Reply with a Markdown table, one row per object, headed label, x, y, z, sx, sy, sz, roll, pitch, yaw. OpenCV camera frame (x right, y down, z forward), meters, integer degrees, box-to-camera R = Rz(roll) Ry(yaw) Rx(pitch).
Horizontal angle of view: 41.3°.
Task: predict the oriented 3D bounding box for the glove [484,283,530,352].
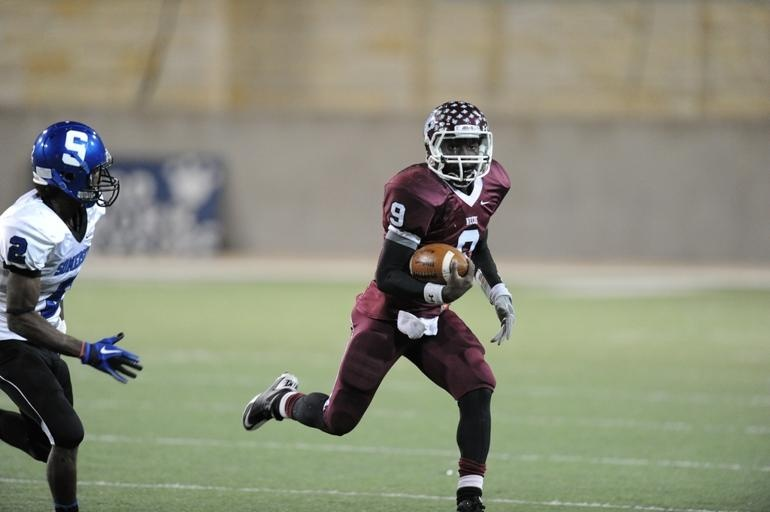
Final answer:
| label | x | y | z | sx | sy | sz | roll | pitch | yaw |
| --- | --- | --- | --- | --- | --- | --- | --- | --- | --- |
| glove | 0.733 | 0.379 | 6.499 | 0.266 | 0.447 | 0.133 | 7 | -37 | -26 |

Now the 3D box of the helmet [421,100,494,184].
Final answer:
| label | x | y | z | sx | sy | sz | roll | pitch | yaw |
| --- | --- | --- | --- | --- | --- | --- | --- | --- | --- |
| helmet | 0.449 | -0.697 | 6.257 | 0.402 | 0.480 | 0.526 | -2 | 10 | -13 |

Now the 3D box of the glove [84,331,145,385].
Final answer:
| label | x | y | z | sx | sy | sz | roll | pitch | yaw |
| --- | --- | --- | --- | --- | --- | --- | --- | --- | --- |
| glove | -1.929 | 0.731 | 7.273 | 0.584 | 0.383 | 0.206 | 4 | -12 | -3 |

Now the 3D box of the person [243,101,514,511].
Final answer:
| label | x | y | z | sx | sy | sz | roll | pitch | yaw |
| --- | --- | --- | --- | --- | --- | --- | --- | --- | --- |
| person | 0.102 | 0.244 | 6.318 | 1.389 | 2.480 | 0.688 | 7 | 5 | 6 |

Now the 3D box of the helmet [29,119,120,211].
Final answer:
| label | x | y | z | sx | sy | sz | roll | pitch | yaw |
| --- | --- | --- | --- | --- | --- | --- | --- | --- | --- |
| helmet | -1.911 | -0.574 | 6.207 | 0.602 | 0.528 | 0.441 | -1 | 13 | -23 |

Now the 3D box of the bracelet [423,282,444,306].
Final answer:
| label | x | y | z | sx | sy | sz | roll | pitch | yaw |
| --- | --- | --- | --- | --- | --- | --- | --- | --- | --- |
| bracelet | 0.289 | 0.214 | 6.052 | 0.130 | 0.087 | 0.099 | 1 | 5 | -8 |
